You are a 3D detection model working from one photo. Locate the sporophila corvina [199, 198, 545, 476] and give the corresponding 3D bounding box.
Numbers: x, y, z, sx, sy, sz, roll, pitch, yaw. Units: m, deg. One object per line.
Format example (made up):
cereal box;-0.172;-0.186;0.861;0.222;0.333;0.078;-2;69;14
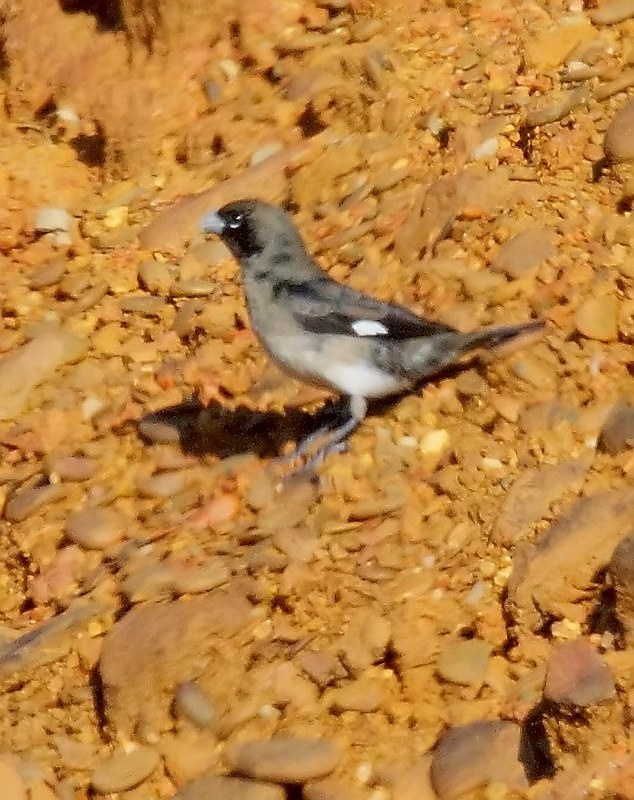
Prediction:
sporophila corvina;-0.018;-0.160;1.554;0.428;0.107;0.511;-39;75;-19
